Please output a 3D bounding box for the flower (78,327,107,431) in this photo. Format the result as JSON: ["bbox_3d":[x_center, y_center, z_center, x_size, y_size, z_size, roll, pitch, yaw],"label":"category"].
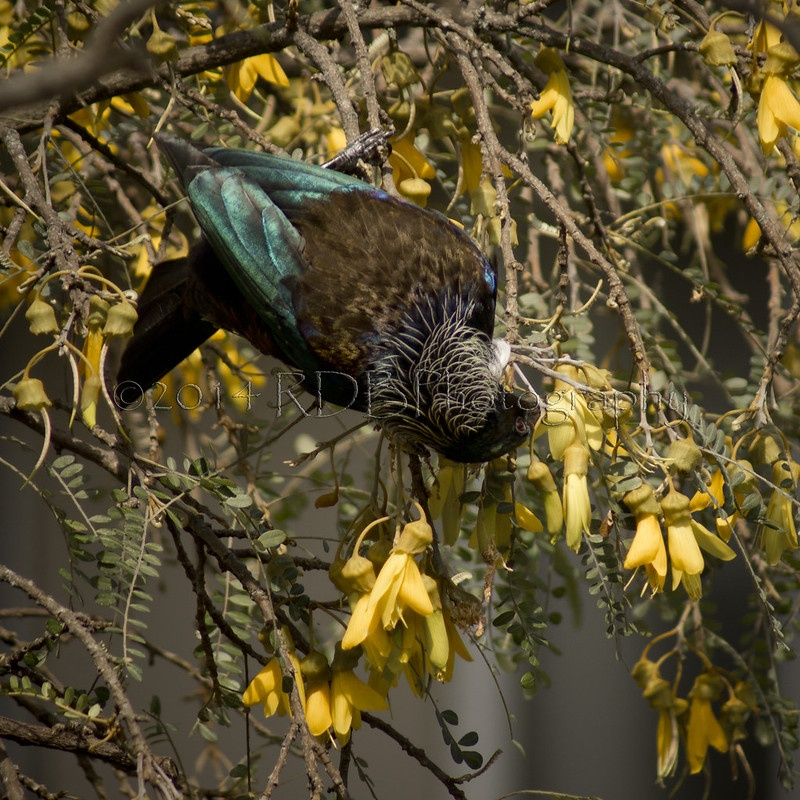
[{"bbox_3d":[-0.635,-0.045,3.424,0.050,0.217,0.065,1,4,-10],"label":"flower"}]

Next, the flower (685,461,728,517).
[{"bbox_3d":[0.629,0.185,3.444,0.036,0.086,0.085,23,22,26],"label":"flower"}]

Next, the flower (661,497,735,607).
[{"bbox_3d":[0.568,0.294,3.405,0.165,0.207,0.077,-17,-15,-34],"label":"flower"}]

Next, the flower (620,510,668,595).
[{"bbox_3d":[0.503,0.333,3.360,0.079,0.154,0.166,10,-35,11],"label":"flower"}]

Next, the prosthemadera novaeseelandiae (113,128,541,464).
[{"bbox_3d":[-0.161,-0.151,3.863,1.047,0.705,0.581,14,-35,6],"label":"prosthemadera novaeseelandiae"}]

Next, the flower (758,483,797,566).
[{"bbox_3d":[0.803,0.261,3.468,0.075,0.160,0.196,9,-36,13],"label":"flower"}]

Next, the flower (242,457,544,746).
[{"bbox_3d":[-0.018,0.448,3.482,0.491,0.572,0.295,1,-14,1],"label":"flower"}]
